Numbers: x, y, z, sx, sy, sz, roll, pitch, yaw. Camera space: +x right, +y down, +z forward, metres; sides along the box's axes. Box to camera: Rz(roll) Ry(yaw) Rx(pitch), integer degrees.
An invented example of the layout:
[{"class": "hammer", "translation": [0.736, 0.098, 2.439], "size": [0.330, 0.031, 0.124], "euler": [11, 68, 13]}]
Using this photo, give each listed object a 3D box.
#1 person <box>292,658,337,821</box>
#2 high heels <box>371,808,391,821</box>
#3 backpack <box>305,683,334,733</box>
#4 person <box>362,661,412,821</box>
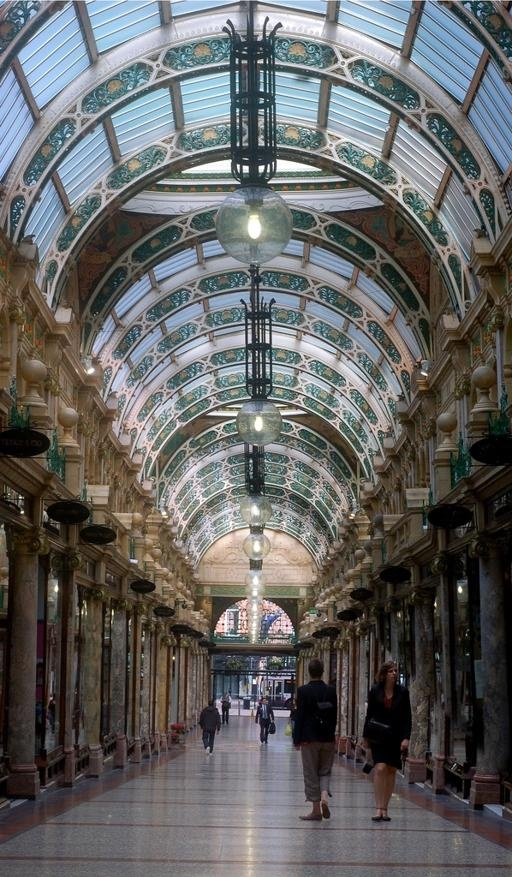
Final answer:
[{"class": "person", "translation": [0.575, 2.964, 7.448], "size": [0.406, 1.525, 1.214], "euler": [-1, -18, 5]}, {"class": "high heels", "translation": [1.261, 3.772, 7.589], "size": [0.111, 0.141, 0.338], "euler": [-1, -26, 4]}, {"class": "backpack", "translation": [0.629, 2.621, 7.285], "size": [0.259, 0.376, 0.409], "euler": [1, -60, -3]}, {"class": "person", "translation": [1.291, 2.980, 7.389], "size": [0.466, 1.506, 1.029], "euler": [-2, -18, 9]}]
